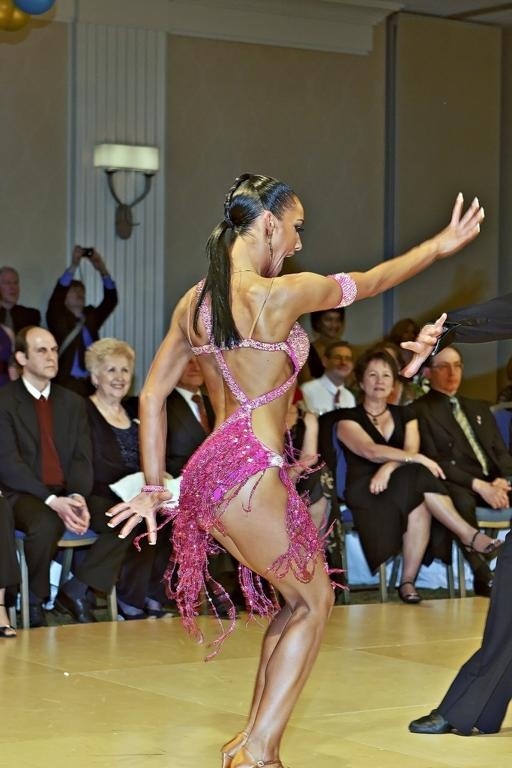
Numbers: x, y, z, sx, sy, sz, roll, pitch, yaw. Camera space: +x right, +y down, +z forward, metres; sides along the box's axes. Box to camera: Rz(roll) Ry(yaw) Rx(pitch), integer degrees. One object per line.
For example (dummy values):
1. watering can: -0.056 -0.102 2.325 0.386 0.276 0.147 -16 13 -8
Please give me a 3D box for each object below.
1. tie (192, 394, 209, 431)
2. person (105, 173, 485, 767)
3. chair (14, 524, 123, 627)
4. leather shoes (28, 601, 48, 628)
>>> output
1. tie: -0.294 0.152 4.303 0.049 0.170 0.138 -9 -3 9
2. person: -0.060 0.165 1.560 0.441 1.193 0.318 -3 -8 28
3. chair: -0.901 0.901 3.852 0.597 0.489 0.447 1 -15 -8
4. leather shoes: -1.026 1.099 3.711 0.081 0.107 0.196 3 -8 -14
